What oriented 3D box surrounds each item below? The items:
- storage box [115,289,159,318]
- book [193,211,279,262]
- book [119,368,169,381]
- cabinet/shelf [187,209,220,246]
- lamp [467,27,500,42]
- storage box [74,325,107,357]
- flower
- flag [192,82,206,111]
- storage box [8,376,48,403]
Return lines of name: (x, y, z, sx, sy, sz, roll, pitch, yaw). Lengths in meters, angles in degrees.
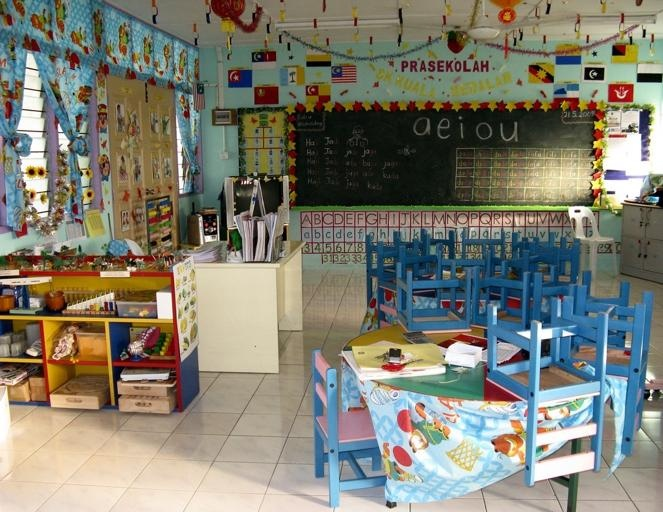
storage box: (-1.486, 0.369, 4.011, 0.214, 0.103, 0.291, 0, 9, -8)
book: (-0.761, -0.127, 4.648, 0.533, 0.224, 0.533, 0, 7, 6)
book: (-1.439, 0.916, 4.062, 0.374, 0.067, 0.120, -1, 12, 1)
cabinet/shelf: (-1.940, -0.409, 7.895, 0.371, 0.615, 0.447, 0, 25, 1)
lamp: (1.451, -2.128, 5.054, 0.260, 0.090, 0.370, 8, 15, 36)
storage box: (-1.880, 0.669, 4.108, 0.231, 0.227, 0.142, 3, -10, -22)
flower: (-2.702, -0.626, 5.250, 0.239, 0.787, 0.577, 7, -2, -14)
flag: (-2.073, -2.464, 8.197, 0.162, 0.398, 0.166, -4, 13, -15)
storage box: (-2.404, 1.067, 4.172, 0.236, 0.142, 0.230, 0, 0, -6)
